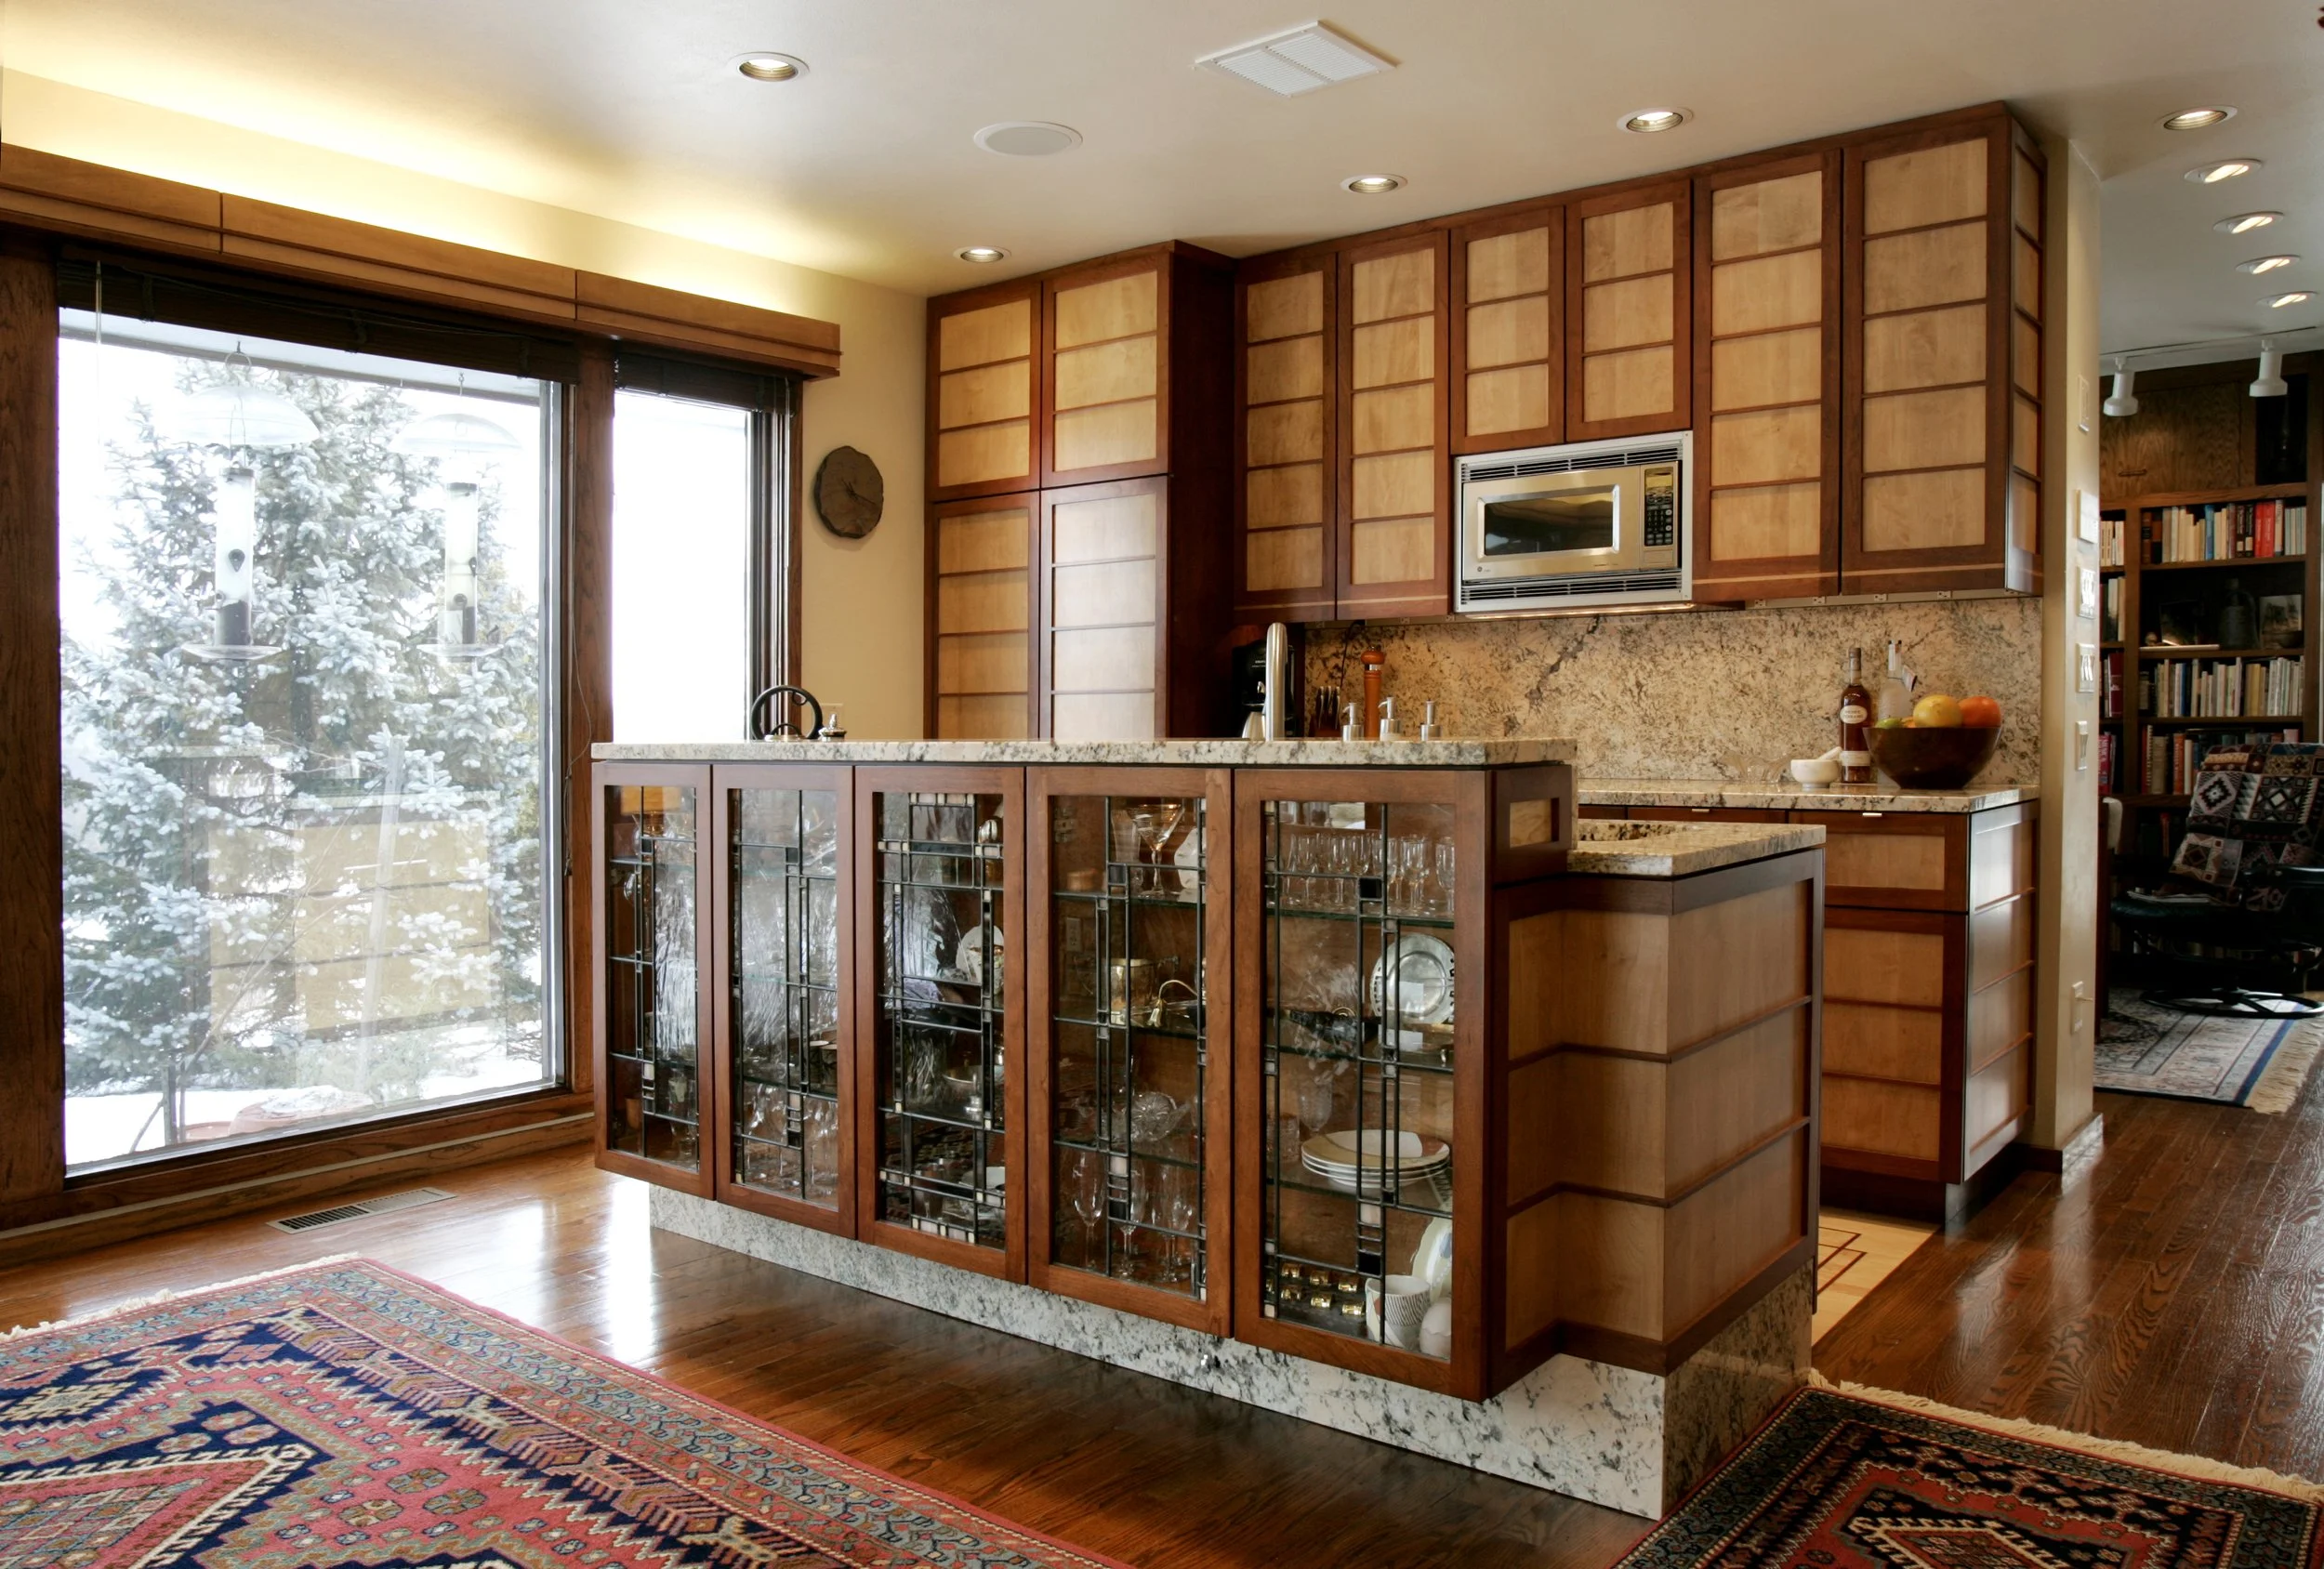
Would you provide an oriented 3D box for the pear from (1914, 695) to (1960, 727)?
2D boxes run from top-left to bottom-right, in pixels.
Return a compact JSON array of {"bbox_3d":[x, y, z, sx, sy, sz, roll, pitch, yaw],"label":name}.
[{"bbox_3d":[2.481,-0.246,5.509,0.139,0.088,0.217,2,10,11],"label":"pear"}]

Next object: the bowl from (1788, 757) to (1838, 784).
[{"bbox_3d":[2.189,-0.055,5.752,0.159,0.098,0.113,5,11,29],"label":"bowl"}]

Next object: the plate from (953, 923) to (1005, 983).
[{"bbox_3d":[-0.479,0.445,4.466,0.142,0.144,0.118,-10,-7,34],"label":"plate"}]

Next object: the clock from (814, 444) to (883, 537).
[{"bbox_3d":[-1.299,-1.197,7.068,0.092,0.380,0.346,7,12,35],"label":"clock"}]

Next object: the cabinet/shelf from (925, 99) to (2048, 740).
[{"bbox_3d":[0.979,-1.187,6.360,3.983,2.202,0.562,4,10,23],"label":"cabinet/shelf"}]

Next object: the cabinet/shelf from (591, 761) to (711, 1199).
[{"bbox_3d":[-1.525,0.551,5.098,0.221,1.217,0.602,-9,13,-44],"label":"cabinet/shelf"}]

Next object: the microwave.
[{"bbox_3d":[1.481,-0.900,6.136,0.967,0.688,0.522,1,1,36],"label":"microwave"}]

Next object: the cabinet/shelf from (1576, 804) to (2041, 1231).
[{"bbox_3d":[2.365,0.642,5.492,1.265,1.304,0.747,-2,10,-13],"label":"cabinet/shelf"}]

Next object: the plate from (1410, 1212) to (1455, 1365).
[{"bbox_3d":[0.607,1.130,3.854,0.074,0.302,0.114,0,10,-1],"label":"plate"}]

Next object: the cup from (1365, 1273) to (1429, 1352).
[{"bbox_3d":[0.536,1.208,3.915,0.136,0.150,0.156,0,-2,-6],"label":"cup"}]

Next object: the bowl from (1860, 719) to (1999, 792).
[{"bbox_3d":[2.475,-0.095,5.480,0.248,0.139,0.251,-1,-4,0],"label":"bowl"}]
